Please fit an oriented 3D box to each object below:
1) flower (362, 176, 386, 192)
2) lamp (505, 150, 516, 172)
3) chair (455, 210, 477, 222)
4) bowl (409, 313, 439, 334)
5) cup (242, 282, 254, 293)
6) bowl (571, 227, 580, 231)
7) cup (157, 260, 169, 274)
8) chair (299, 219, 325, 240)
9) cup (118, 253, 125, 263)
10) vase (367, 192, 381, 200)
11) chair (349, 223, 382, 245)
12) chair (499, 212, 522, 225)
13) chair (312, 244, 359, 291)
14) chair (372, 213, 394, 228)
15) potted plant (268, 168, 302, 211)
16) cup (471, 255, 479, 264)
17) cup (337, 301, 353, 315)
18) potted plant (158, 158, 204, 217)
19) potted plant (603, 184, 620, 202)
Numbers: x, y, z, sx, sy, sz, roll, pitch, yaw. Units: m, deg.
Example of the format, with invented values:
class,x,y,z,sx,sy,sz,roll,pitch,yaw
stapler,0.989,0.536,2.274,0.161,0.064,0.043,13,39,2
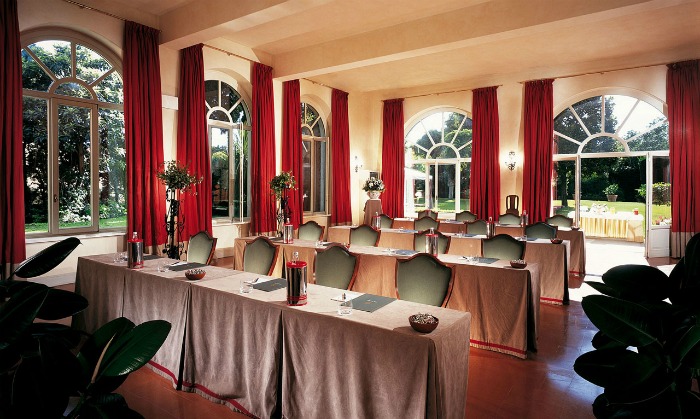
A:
class,x,y,z,sx,sy,sz,roll,pitch,yaw
flower,0.661,-0.730,12.807,0.497,0.375,0.502,0,0,32
lamp,4.425,-1.376,12.142,0.309,0.533,0.089,3,1,27
chair,2.864,0.156,10.847,0.311,0.440,0.372,-1,-4,31
bowl,0.729,1.126,4.384,0.291,0.162,0.218,2,1,11
cup,-1.186,0.895,5.053,0.097,0.058,0.096,0,-2,0
bowl,4.641,0.385,9.067,0.124,0.050,0.132,-2,-2,0
cup,-2.397,0.723,5.611,0.131,0.110,0.145,0,-5,-13
chair,-0.771,0.357,8.303,0.357,0.613,0.394,2,-1,18
cup,-3.158,0.658,6.044,0.083,0.098,0.099,-1,-6,6
vase,0.680,-0.423,12.799,0.264,0.173,0.261,0,-2,-2
chair,0.306,0.454,8.401,0.391,0.569,0.445,1,-4,22
chair,3.760,0.222,10.312,0.348,0.487,0.402,-3,-3,24
chair,-0.143,0.781,6.137,0.538,0.922,0.626,3,-2,14
chair,0.723,0.235,10.118,0.330,0.542,0.383,1,-4,-4
potted plant,-1.535,-0.452,10.171,0.858,1.077,0.946,0,1,34
cup,1.741,0.690,6.125,0.092,0.151,0.093,0,10,0
cup,-0.063,1.023,4.615,0.137,0.095,0.135,0,2,0
potted plant,-3.393,-0.493,8.722,0.780,1.065,1.387,2,1,-19
potted plant,7.063,-0.464,11.942,0.504,0.504,0.421,-2,0,-27
